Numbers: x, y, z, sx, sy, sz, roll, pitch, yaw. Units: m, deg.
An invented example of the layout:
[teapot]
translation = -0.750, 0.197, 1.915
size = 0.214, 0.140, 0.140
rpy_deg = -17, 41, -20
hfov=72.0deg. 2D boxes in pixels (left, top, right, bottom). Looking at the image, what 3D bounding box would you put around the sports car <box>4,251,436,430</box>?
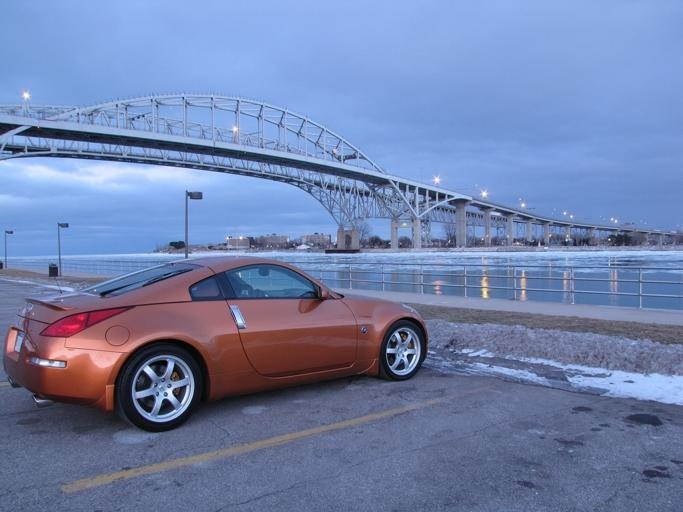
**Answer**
[sports car]
translation = -1.193, 0.698, 5.393
size = 3.979, 1.082, 1.804
rpy_deg = -3, 0, -33
